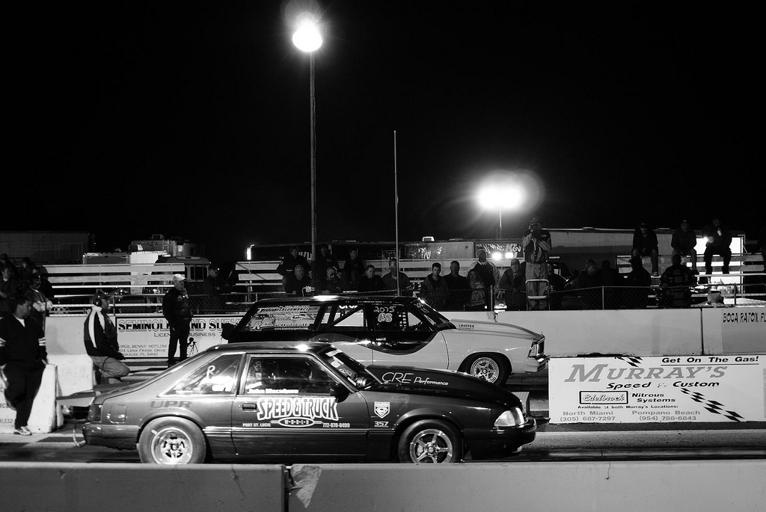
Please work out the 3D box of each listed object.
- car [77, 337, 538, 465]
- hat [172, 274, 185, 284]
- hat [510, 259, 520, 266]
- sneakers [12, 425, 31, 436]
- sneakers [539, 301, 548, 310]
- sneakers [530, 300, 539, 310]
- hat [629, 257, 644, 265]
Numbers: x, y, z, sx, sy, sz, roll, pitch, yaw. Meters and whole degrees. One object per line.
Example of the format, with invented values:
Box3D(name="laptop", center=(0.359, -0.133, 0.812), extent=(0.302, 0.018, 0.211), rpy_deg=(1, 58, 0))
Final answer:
Box3D(name="car", center=(-1.339, 2.511, 19.902), extent=(5.956, 1.637, 2.817), rpy_deg=(-1, -1, 0))
Box3D(name="hat", center=(-4.530, 0.559, 27.069), extent=(0.267, 0.123, 0.379), rpy_deg=(10, 20, 20))
Box3D(name="hat", center=(3.385, 0.166, 30.653), extent=(0.180, 0.166, 0.180), rpy_deg=(-1, 1, 9))
Box3D(name="sneakers", center=(-6.450, 3.151, 21.531), extent=(0.409, 0.169, 0.121), rpy_deg=(-1, 0, 12))
Box3D(name="sneakers", center=(3.911, 1.194, 29.069), extent=(0.223, 0.207, 0.267), rpy_deg=(3, -14, 19))
Box3D(name="sneakers", center=(3.680, 1.173, 29.014), extent=(0.278, 0.256, 0.161), rpy_deg=(2, -1, 6))
Box3D(name="hat", center=(6.416, 0.115, 30.232), extent=(0.241, 0.225, 0.227), rpy_deg=(3, 4, 8))
